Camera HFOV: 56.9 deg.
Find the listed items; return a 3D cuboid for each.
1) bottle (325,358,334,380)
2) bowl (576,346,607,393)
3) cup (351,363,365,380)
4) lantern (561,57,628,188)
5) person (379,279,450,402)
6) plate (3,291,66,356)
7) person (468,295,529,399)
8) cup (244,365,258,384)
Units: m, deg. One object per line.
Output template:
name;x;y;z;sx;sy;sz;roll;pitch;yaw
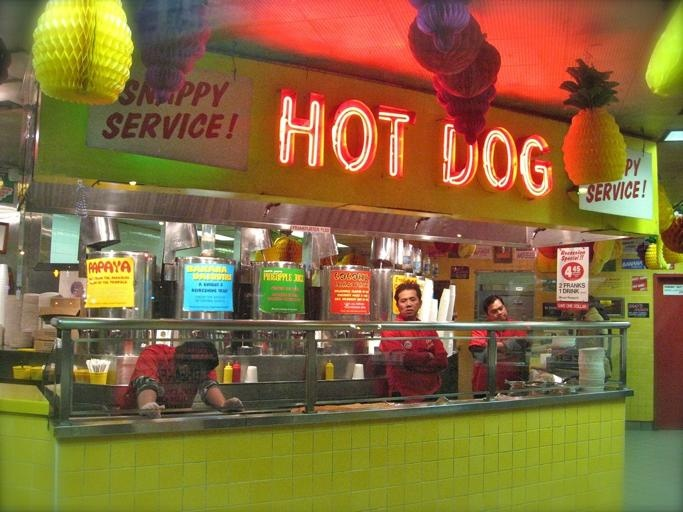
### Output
bottle;-0.076;0.802;4.436;0.076;0.127;0.112;-1;-7;15
bowl;1.996;0.901;5.014;0.274;0.350;0.062;4;-8;-27
cup;0.124;0.810;4.396;0.105;0.102;0.099;-1;-3;0
lantern;1.463;-0.803;3.676;0.330;0.789;0.250;-2;-8;20
person;0.504;0.760;4.555;0.494;1.050;0.387;0;5;-18
plate;-2.570;0.546;5.307;0.771;0.472;0.291;-6;-10;43
person;1.158;0.793;4.803;0.449;0.960;0.332;-1;15;-3
cup;-0.644;0.868;4.628;0.133;0.132;0.123;0;-8;0
